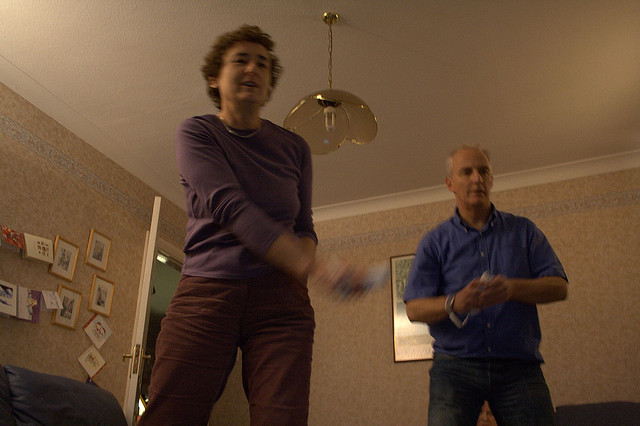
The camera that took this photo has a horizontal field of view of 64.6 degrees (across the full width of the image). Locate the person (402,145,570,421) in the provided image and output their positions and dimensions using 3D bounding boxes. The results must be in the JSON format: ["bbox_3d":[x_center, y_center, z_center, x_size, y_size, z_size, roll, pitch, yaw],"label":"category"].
[{"bbox_3d":[0.946,0.316,2.923,0.801,1.683,0.615,0,-17,-30],"label":"person"}]

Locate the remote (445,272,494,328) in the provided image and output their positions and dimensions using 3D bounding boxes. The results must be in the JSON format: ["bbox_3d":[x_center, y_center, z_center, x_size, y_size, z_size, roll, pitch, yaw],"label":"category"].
[{"bbox_3d":[0.801,0.485,2.678,0.121,0.196,0.344,32,-66,-7],"label":"remote"}]

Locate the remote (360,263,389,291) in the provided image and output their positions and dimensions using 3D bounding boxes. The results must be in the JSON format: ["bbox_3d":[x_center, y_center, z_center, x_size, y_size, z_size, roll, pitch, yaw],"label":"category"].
[{"bbox_3d":[0.234,0.252,2.031,0.092,0.101,0.131,-17,-17,28],"label":"remote"}]

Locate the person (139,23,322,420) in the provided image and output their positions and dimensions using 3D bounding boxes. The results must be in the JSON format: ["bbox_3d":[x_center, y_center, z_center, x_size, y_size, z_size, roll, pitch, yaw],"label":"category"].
[{"bbox_3d":[-0.400,-0.030,2.234,0.759,1.823,0.404,-9,-14,3],"label":"person"}]

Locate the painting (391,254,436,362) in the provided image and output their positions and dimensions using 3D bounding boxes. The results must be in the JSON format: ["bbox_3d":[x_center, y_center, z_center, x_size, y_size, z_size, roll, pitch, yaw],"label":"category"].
[{"bbox_3d":[1.077,1.034,5.567,0.595,1.225,0.039,-4,8,-8],"label":"painting"}]
